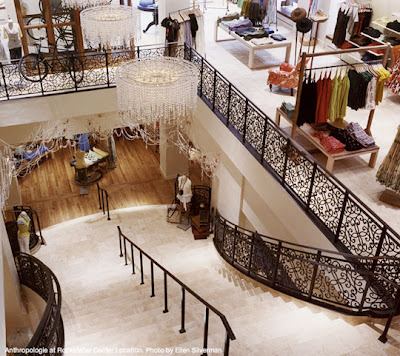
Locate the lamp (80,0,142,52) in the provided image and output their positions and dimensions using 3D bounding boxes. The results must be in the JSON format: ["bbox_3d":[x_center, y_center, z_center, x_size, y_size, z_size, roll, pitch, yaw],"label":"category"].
[{"bbox_3d":[-2.216,-3.782,7.695,1.128,0.585,1.239,-15,48,-19],"label":"lamp"}]

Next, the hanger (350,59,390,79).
[{"bbox_3d":[3.517,-2.194,6.366,0.606,0.233,0.489,-2,24,-18],"label":"hanger"}]

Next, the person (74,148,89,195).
[{"bbox_3d":[-4.550,-0.321,11.870,0.512,1.487,1.165,-12,33,-22],"label":"person"}]

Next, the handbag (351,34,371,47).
[{"bbox_3d":[4.764,-4.108,9.299,0.459,0.165,0.375,-23,62,-15],"label":"handbag"}]

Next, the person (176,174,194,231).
[{"bbox_3d":[-0.525,0.807,10.245,0.509,1.773,0.486,19,29,34],"label":"person"}]

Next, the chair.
[{"bbox_3d":[2.237,-2.692,8.098,0.799,0.940,0.695,26,41,32],"label":"chair"}]

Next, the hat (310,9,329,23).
[{"bbox_3d":[3.153,-4.298,8.305,0.495,0.293,0.392,-11,33,-18],"label":"hat"}]

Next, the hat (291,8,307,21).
[{"bbox_3d":[2.431,-4.032,7.718,0.347,0.302,0.321,3,31,4],"label":"hat"}]

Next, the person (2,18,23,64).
[{"bbox_3d":[-5.042,-3.696,8.383,0.514,1.071,0.979,-15,34,-25],"label":"person"}]

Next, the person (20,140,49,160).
[{"bbox_3d":[-6.021,-1.002,11.296,1.051,0.387,0.419,-32,-3,-13],"label":"person"}]
